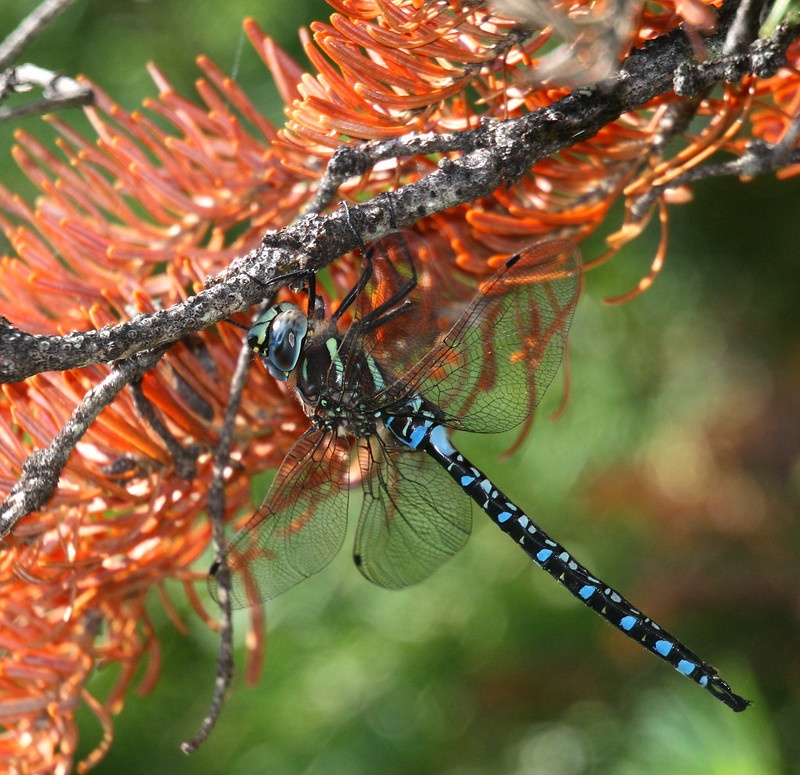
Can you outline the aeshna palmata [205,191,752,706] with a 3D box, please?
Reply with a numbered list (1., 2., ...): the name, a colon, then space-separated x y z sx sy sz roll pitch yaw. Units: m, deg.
1. aeshna palmata: 0.062 0.068 1.141 0.336 0.611 0.735 -38 34 -18
